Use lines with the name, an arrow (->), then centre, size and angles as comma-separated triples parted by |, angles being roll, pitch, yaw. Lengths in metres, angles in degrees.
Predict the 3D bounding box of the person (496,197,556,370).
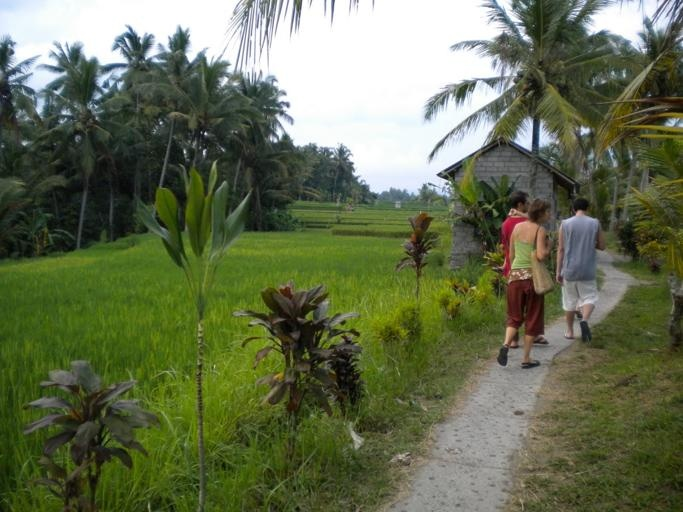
person -> 2.577, 0.393, 7.854 | 0.669, 2.349, 0.547 | 2, 4, 17

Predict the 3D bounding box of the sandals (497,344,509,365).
sandals -> 2.267, 1.389, 7.831 | 0.118, 0.374, 0.156 | 1, -4, 12

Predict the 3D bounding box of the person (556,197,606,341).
person -> 3.708, 0.222, 8.719 | 0.664, 2.236, 0.560 | 2, 4, 23

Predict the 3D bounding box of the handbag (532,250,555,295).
handbag -> 2.791, 0.231, 7.585 | 0.447, 0.179, 0.550 | 37, 5, 37
